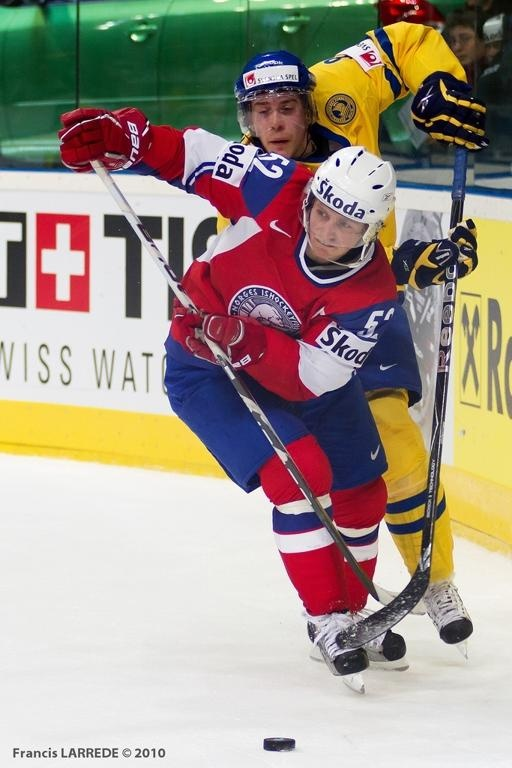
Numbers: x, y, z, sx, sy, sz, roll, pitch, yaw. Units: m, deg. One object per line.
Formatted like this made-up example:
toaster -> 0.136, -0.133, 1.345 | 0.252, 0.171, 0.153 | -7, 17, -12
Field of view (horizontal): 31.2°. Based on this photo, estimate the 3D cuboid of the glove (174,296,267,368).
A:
glove -> -0.095, -0.101, 1.945 | 0.187, 0.102, 0.078 | 25, 26, 36

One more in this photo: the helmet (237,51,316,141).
helmet -> 0.041, -0.703, 2.253 | 0.167, 0.151, 0.179 | -16, 2, 10

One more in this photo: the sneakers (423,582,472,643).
sneakers -> 0.472, 0.562, 2.303 | 0.069, 0.077, 0.196 | -30, 18, 6

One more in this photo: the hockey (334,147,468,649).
hockey -> 0.468, -0.003, 2.237 | 0.056, 1.168, 0.391 | 10, -4, 37

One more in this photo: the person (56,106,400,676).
person -> 0.002, 0.026, 2.082 | 0.656, 1.272, 0.382 | 3, 8, 20

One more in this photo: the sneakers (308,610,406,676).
sneakers -> 0.213, 0.586, 2.073 | 0.118, 0.136, 0.321 | -12, -7, -22

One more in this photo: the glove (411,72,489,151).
glove -> 0.488, -0.688, 2.304 | 0.192, 0.197, 0.146 | 0, 7, -4
